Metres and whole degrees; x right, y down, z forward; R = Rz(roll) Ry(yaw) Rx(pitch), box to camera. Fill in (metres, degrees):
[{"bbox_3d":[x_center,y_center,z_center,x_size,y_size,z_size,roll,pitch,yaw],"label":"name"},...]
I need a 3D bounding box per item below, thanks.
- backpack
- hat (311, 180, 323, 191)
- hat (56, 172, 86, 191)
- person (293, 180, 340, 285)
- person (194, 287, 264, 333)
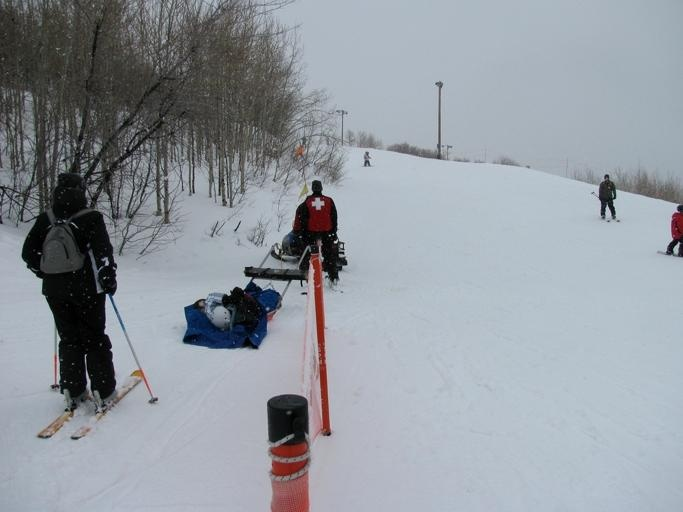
[{"bbox_3d":[-3.506,-0.172,7.501,0.593,0.945,0.377,-3,-3,-4],"label":"backpack"},{"bbox_3d":[-0.529,-1.454,12.267,0.205,0.229,0.231,-4,11,-15],"label":"hat"},{"bbox_3d":[-3.561,-0.972,7.642,0.257,0.187,0.201,-5,13,-33],"label":"hat"},{"bbox_3d":[-0.545,-0.411,12.292,0.895,2.256,0.529,-1,13,-5],"label":"person"},{"bbox_3d":[-1.878,0.879,9.784,0.795,0.504,0.683,13,10,8],"label":"person"}]
